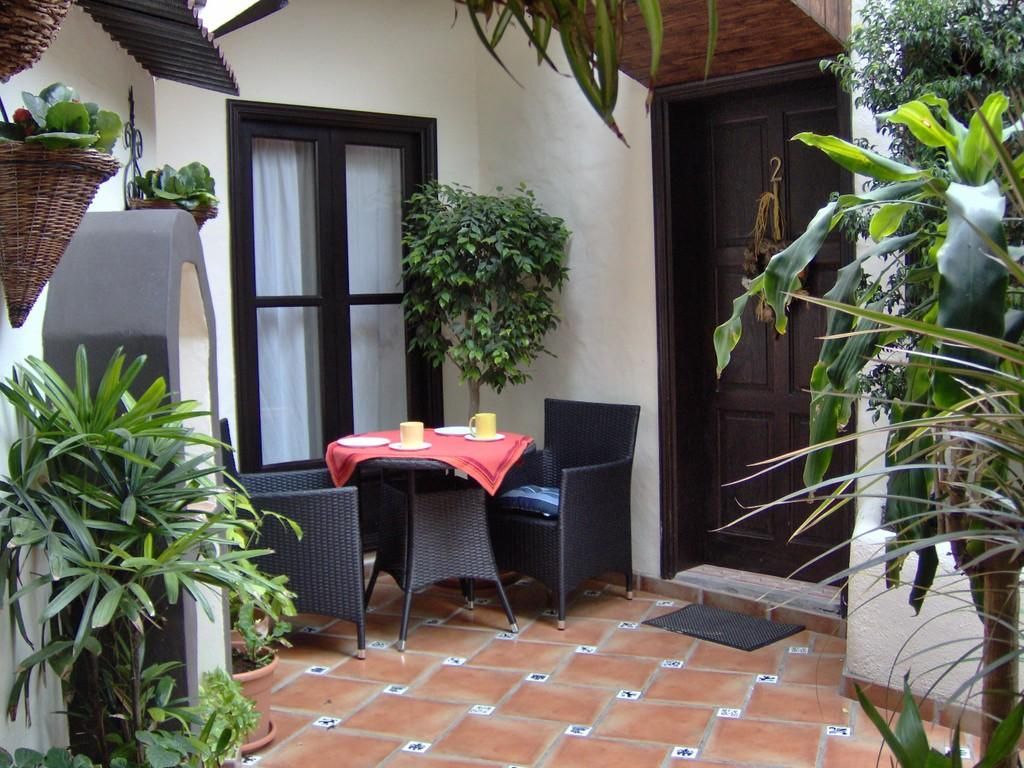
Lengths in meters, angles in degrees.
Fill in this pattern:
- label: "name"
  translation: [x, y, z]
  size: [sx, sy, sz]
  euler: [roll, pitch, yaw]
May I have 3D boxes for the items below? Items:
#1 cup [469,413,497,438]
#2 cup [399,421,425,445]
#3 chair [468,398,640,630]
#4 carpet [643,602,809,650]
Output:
- label: "cup"
  translation: [-0.156, 0.220, 4.438]
  size: [0.143, 0.138, 0.097]
  euler: [-3, -3, 8]
- label: "cup"
  translation: [-0.509, 0.250, 4.212]
  size: [0.110, 0.096, 0.116]
  euler: [2, -2, 0]
- label: "chair"
  translation: [0.244, 0.658, 4.755]
  size: [0.899, 1.075, 0.913]
  euler: [0, 3, -17]
- label: "carpet"
  translation: [1.098, 1.255, 4.331]
  size: [0.733, 0.030, 0.444]
  euler: [4, 9, 40]
